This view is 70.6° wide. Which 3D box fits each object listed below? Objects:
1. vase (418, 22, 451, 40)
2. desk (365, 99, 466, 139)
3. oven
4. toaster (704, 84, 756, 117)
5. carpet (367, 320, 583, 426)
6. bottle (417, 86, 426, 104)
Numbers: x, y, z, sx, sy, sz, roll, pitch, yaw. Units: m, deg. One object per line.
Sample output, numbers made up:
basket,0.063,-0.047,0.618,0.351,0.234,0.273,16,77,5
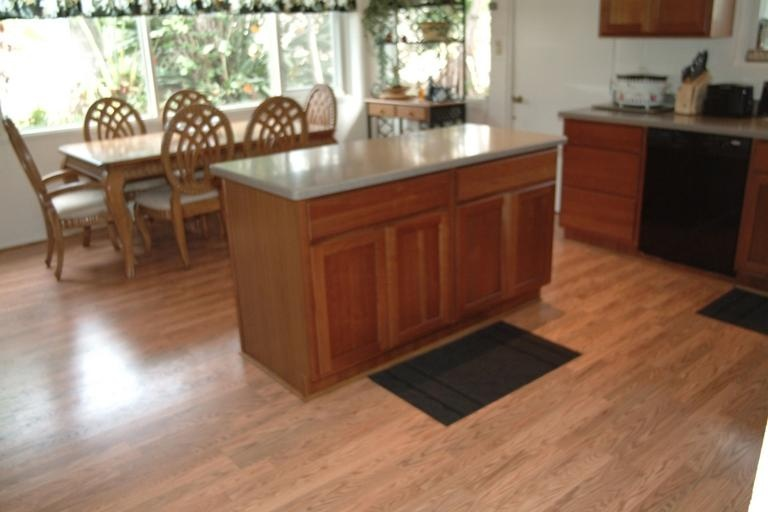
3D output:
vase,0.532,-2.453,5.964,0.248,0.111,0.240,-11,18,-35
desk,0.289,-1.594,6.327,1.300,0.483,0.471,17,32,41
oven,2.587,-0.527,4.246,0.726,1.058,0.761,-19,26,-28
toaster,2.660,-1.199,4.183,0.174,0.218,0.303,-13,23,-32
carpet,0.474,0.668,3.198,0.818,0.015,0.479,-16,26,-33
bottle,0.419,-1.829,6.109,0.083,0.146,0.237,-3,23,5
